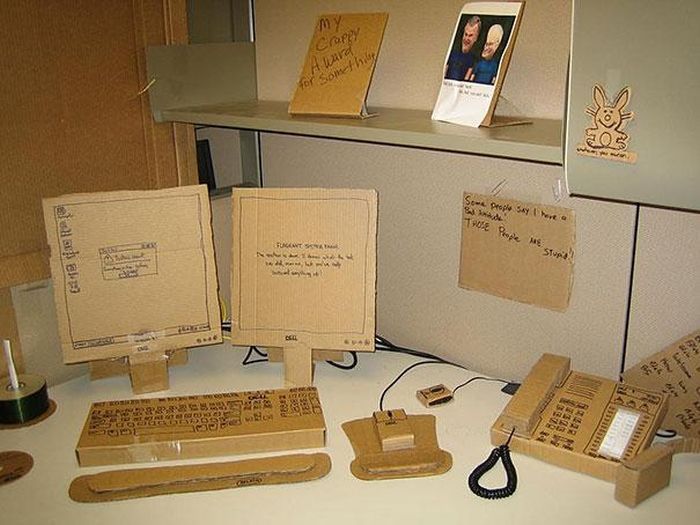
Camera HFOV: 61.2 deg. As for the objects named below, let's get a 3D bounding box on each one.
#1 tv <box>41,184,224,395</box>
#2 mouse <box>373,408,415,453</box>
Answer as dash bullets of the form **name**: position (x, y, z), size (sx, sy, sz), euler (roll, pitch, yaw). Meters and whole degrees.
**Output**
- **tv**: position (-0.577, 0.066, 1.532), size (0.450, 0.618, 0.095), euler (-8, 7, -16)
- **mouse**: position (0.099, 0.392, 1.430), size (0.110, 0.051, 0.156), euler (-6, -9, 13)
